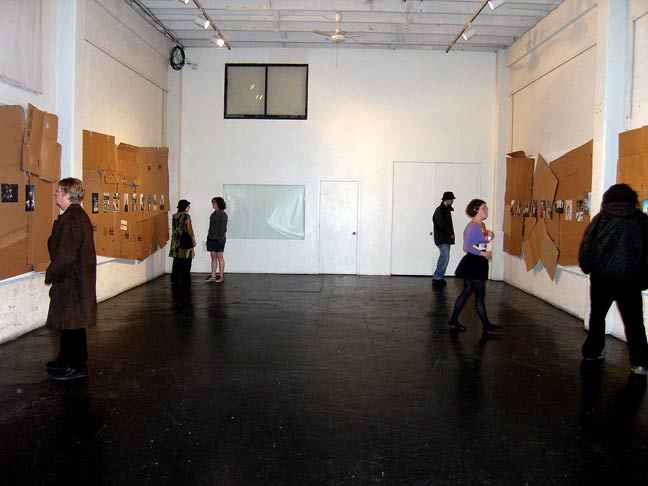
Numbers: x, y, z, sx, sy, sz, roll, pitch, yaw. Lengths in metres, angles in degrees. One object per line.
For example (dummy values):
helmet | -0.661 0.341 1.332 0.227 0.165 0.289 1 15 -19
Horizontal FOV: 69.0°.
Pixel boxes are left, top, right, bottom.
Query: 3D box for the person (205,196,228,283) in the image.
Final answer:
person | -2.149 -0.055 9.311 0.396 1.660 0.846 -1 7 -14

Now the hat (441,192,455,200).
hat | 2.409 -0.904 9.171 0.162 0.118 0.193 -6 -6 42

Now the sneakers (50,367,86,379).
sneakers | -2.473 1.267 4.598 0.317 0.150 0.139 7 0 -13

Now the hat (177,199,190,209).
hat | -2.581 -0.662 8.611 0.178 0.192 0.199 -3 8 -26

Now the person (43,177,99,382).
person | -2.488 0.346 4.606 0.454 1.924 0.456 -4 7 -34

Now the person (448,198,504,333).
person | 1.943 0.318 6.130 0.635 1.723 0.729 3 7 21

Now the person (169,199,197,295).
person | -2.590 0.058 8.578 0.423 1.607 1.069 -2 7 -18
